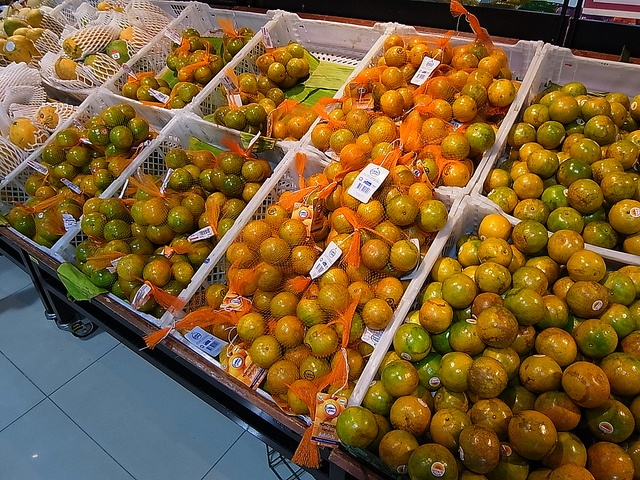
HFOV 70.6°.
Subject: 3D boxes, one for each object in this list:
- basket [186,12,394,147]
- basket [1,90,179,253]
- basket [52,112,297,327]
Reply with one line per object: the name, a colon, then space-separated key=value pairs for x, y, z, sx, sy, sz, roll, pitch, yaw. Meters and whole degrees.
basket: x=-0.314 y=-1.429 z=3.719 sx=1.077 sy=0.460 sz=1.524 roll=28 pitch=76 yaw=13
basket: x=-1.666 y=-0.414 z=3.715 sx=0.859 sy=0.471 sz=1.433 roll=28 pitch=75 yaw=28
basket: x=-0.904 y=0.078 z=3.321 sx=1.032 sy=0.534 sz=1.654 roll=26 pitch=73 yaw=19
